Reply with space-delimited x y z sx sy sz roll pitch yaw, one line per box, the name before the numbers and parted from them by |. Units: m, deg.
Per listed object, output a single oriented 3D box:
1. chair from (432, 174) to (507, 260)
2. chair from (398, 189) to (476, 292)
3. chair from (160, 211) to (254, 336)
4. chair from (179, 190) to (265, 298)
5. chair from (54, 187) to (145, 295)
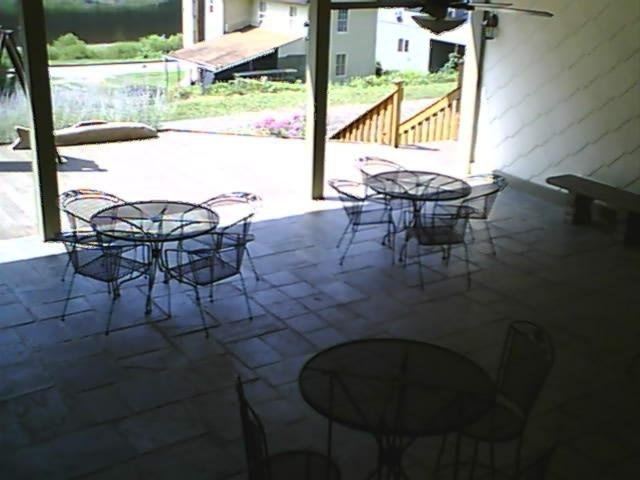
chair | 1.737 -0.246 6.448 0.886 0.904 0.835 -6 30 -9
chair | 1.279 0.032 6.034 1.007 1.099 0.761 -5 38 -4
chair | -1.078 0.344 5.149 0.708 0.909 0.724 -28 54 -37
chair | -0.983 0.070 5.575 0.782 0.975 0.878 -19 39 -37
chair | -2.189 0.046 5.415 0.841 0.953 0.795 7 33 5
